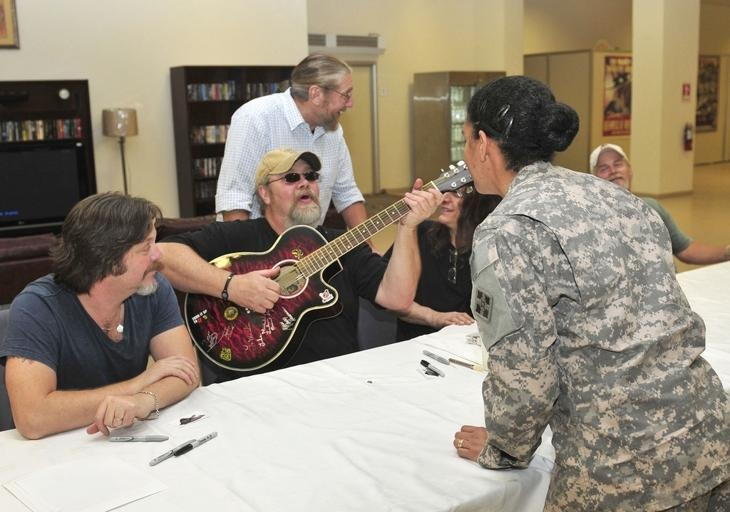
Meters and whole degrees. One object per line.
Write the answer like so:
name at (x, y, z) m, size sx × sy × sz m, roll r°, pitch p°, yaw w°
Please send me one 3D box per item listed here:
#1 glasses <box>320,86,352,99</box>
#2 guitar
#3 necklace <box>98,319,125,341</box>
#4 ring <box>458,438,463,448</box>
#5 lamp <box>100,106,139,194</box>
glasses at (-0.135, -0.955, 3.784) m, size 0.100 × 0.070 × 0.255 m, roll 3°, pitch 11°, yaw 27°
guitar at (-0.072, -0.038, 3.241) m, size 1.749 × 0.717 × 0.243 m, roll -34°, pitch -10°, yaw -20°
necklace at (-0.972, 0.288, 2.440) m, size 0.086 × 0.056 × 0.020 m, roll -3°, pitch 3°, yaw -39°
ring at (0.306, 0.594, 2.013) m, size 0.010 × 0.026 × 0.018 m, roll 22°, pitch -23°, yaw -38°
lamp at (-2.768, -1.188, 7.258) m, size 0.397 × 0.983 × 0.547 m, roll -6°, pitch 10°, yaw -21°
